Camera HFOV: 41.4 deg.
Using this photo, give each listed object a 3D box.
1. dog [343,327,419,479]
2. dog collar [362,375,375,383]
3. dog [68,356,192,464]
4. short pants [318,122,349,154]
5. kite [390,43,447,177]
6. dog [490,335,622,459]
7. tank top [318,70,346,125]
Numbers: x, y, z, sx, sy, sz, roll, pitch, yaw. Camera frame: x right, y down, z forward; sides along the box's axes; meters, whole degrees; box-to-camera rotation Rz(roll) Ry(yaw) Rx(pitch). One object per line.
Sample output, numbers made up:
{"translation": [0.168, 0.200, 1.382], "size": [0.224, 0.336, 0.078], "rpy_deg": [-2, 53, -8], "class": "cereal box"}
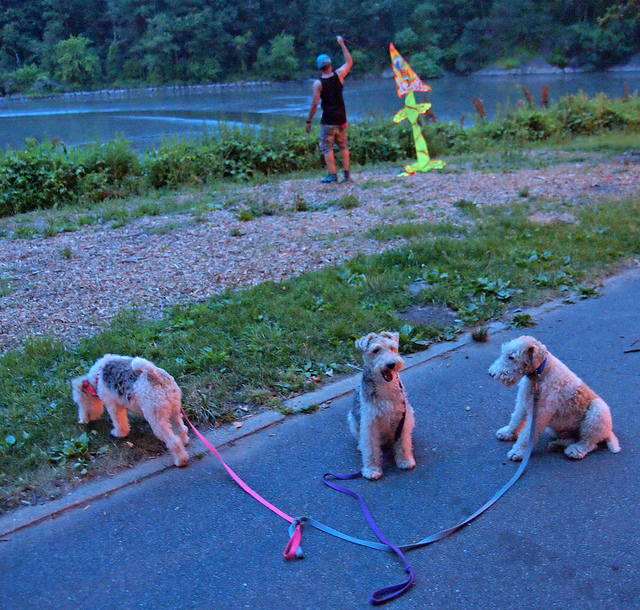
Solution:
{"translation": [0.522, 0.796, 7.536], "size": [0.581, 1.243, 1.212], "rpy_deg": [-5, 7, -4], "class": "dog"}
{"translation": [0.409, 0.632, 7.228], "size": [0.020, 0.046, 0.060], "rpy_deg": [-47, 28, -5], "class": "dog collar"}
{"translation": [-1.733, 0.910, 7.795], "size": [1.190, 0.872, 0.408], "rpy_deg": [8, 22, 15], "class": "dog"}
{"translation": [0.276, -3.097, 15.575], "size": [0.310, 0.549, 0.577], "rpy_deg": [5, 20, 41], "class": "short pants"}
{"translation": [1.882, -4.022, 17.140], "size": [0.847, 2.522, 1.930], "rpy_deg": [-7, 15, 6], "class": "kite"}
{"translation": [2.053, 0.750, 7.367], "size": [1.067, 1.129, 0.693], "rpy_deg": [-4, 16, 0], "class": "dog"}
{"translation": [0.212, -3.689, 15.175], "size": [0.446, 0.925, 0.459], "rpy_deg": [-10, 14, -5], "class": "tank top"}
